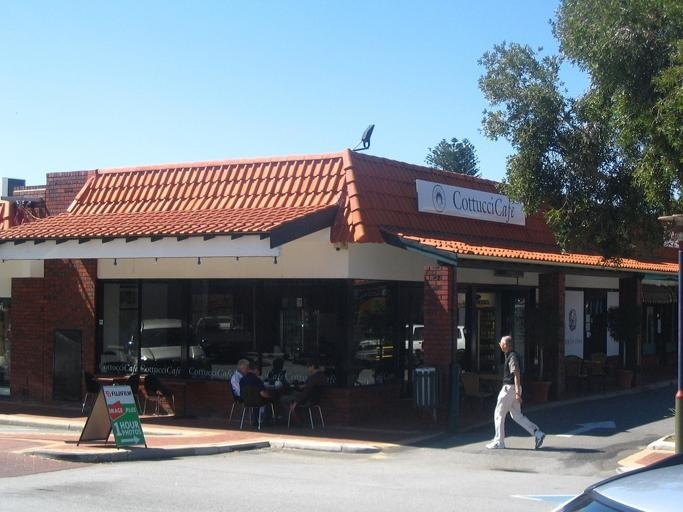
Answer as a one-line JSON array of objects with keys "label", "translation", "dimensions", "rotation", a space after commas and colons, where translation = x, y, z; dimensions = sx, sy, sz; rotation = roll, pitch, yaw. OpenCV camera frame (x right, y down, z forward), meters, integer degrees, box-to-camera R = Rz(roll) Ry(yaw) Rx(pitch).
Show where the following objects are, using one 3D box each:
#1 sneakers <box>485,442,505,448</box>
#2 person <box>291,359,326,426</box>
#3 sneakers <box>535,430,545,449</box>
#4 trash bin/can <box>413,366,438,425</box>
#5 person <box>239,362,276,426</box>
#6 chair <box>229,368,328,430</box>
[{"label": "sneakers", "translation": [3.270, 4.009, 20.510], "dimensions": [0.418, 0.184, 0.151], "rotation": [-2, -3, 18]}, {"label": "person", "translation": [-0.794, 3.219, 22.927], "dimensions": [0.759, 1.466, 1.005], "rotation": [1, -11, -33]}, {"label": "sneakers", "translation": [4.180, 3.886, 20.454], "dimensions": [0.279, 0.384, 0.248], "rotation": [-3, -9, -17]}, {"label": "trash bin/can", "translation": [1.980, 3.082, 22.442], "dimensions": [0.754, 1.536, 0.793], "rotation": [0, -2, 5]}, {"label": "person", "translation": [-1.979, 3.220, 22.671], "dimensions": [0.707, 1.582, 0.923], "rotation": [-7, -9, 11]}, {"label": "chair", "translation": [-1.404, 3.208, 22.590], "dimensions": [1.572, 0.848, 1.674], "rotation": [-1, -4, 14]}]
